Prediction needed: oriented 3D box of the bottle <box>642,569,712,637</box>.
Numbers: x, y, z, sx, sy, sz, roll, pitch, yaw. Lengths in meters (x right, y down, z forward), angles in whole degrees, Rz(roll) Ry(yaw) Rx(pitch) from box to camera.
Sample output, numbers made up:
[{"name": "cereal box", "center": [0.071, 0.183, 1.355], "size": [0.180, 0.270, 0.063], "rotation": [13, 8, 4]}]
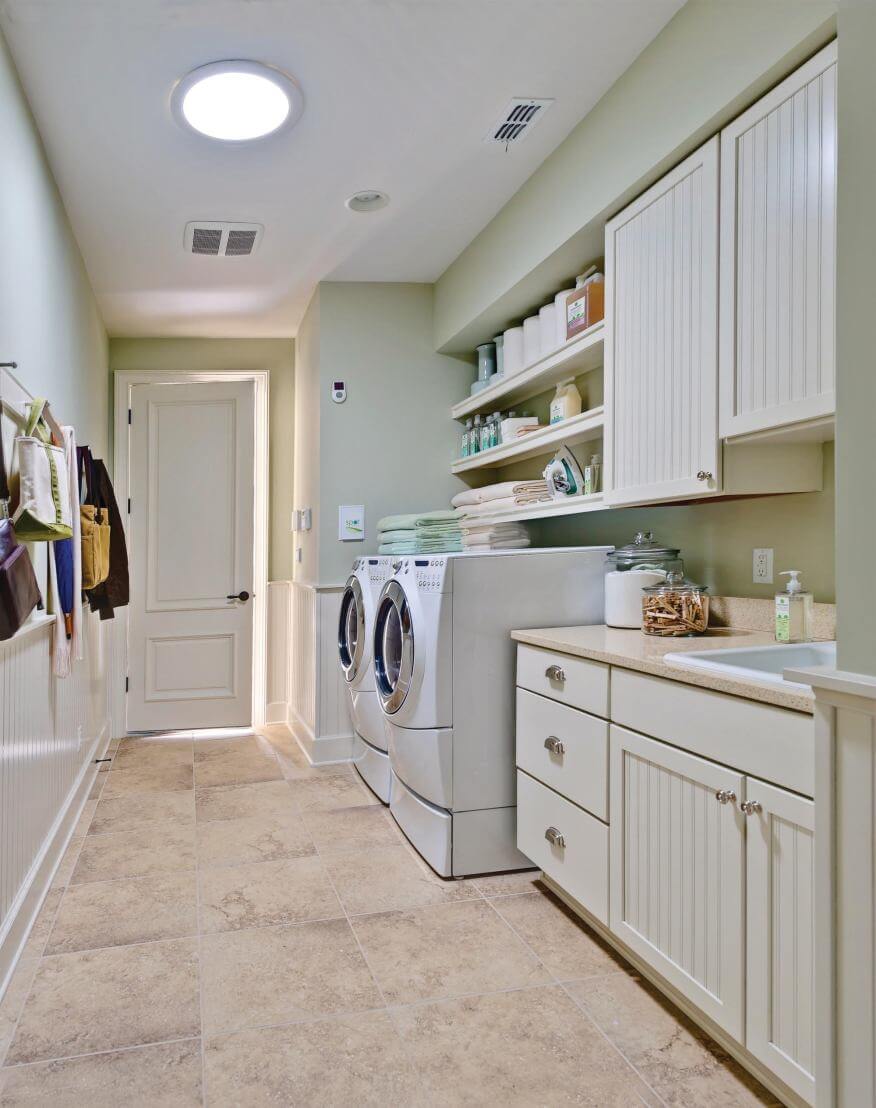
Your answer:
[{"name": "bottle", "center": [0.633, 0.128, 2.093], "size": [0.128, 0.152, 0.149], "rotation": [-1, -3, -11]}]

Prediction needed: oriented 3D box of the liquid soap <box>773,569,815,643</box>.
[{"name": "liquid soap", "center": [0.815, 0.120, 1.828], "size": [0.072, 0.151, 0.128], "rotation": [0, -1, 3]}]

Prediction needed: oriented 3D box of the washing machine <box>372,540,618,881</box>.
[{"name": "washing machine", "center": [0.072, 0.481, 2.727], "size": [0.517, 0.982, 0.615], "rotation": [-1, 2, -28]}]

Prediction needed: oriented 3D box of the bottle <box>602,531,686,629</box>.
[{"name": "bottle", "center": [0.619, 0.088, 2.390], "size": [0.202, 0.301, 0.236], "rotation": [2, 1, 6]}]

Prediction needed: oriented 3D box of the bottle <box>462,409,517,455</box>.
[{"name": "bottle", "center": [0.229, -0.564, 3.732], "size": [0.240, 0.090, 0.173], "rotation": [-21, 16, -40]}]

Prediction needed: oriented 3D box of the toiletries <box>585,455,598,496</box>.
[{"name": "toiletries", "center": [0.513, -0.258, 2.607], "size": [0.048, 0.100, 0.103], "rotation": [-1, -1, 14]}]
